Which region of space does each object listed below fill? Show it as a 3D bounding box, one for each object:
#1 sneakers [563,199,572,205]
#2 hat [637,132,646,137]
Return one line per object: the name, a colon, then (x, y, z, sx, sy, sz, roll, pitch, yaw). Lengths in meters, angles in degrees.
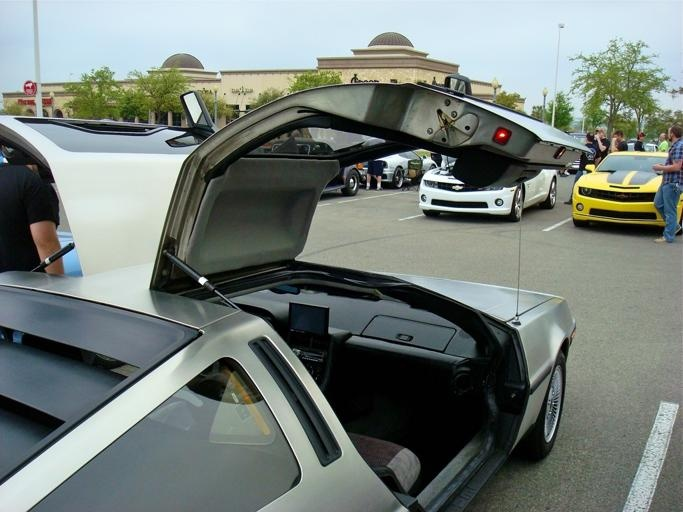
sneakers: (7.374, -1.742, 16.016, 0.294, 0.226, 0.122, 7, 14, 16)
hat: (10.766, -4.342, 17.710, 0.271, 0.150, 0.394, 8, 22, 15)
